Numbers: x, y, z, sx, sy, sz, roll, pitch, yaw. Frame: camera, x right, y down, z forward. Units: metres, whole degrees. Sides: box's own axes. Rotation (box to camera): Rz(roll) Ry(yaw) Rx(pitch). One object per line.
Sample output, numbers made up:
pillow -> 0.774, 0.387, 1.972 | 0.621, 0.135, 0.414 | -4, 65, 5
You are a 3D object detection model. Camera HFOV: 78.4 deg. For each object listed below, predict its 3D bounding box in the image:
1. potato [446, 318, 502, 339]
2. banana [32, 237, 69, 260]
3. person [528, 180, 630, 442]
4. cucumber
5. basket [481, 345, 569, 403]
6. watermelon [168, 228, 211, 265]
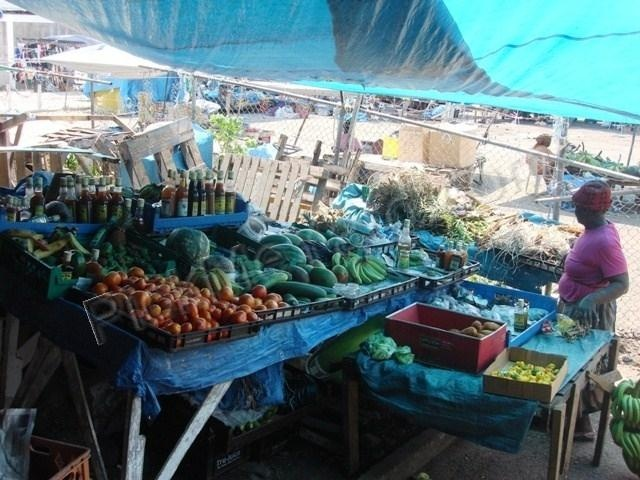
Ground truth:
potato -> 1.281, 0.729, 3.178 | 0.229, 0.051, 0.206 | -10, -2, -30
banana -> -1.904, 0.071, 2.766 | 0.083, 0.113, 0.232 | 8, 12, 10
person -> 2.534, 0.669, 4.290 | 1.094, 2.434, 0.943 | 1, 5, 4
cucumber -> -0.291, 0.379, 3.068 | 0.594, 0.123, 0.105 | 16, 16, -1
basket -> 1.469, 0.961, 2.811 | 0.446, 0.170, 0.614 | 11, 13, 33
watermelon -> -1.087, -0.011, 3.264 | 0.380, 0.155, 0.439 | -2, 39, -27
